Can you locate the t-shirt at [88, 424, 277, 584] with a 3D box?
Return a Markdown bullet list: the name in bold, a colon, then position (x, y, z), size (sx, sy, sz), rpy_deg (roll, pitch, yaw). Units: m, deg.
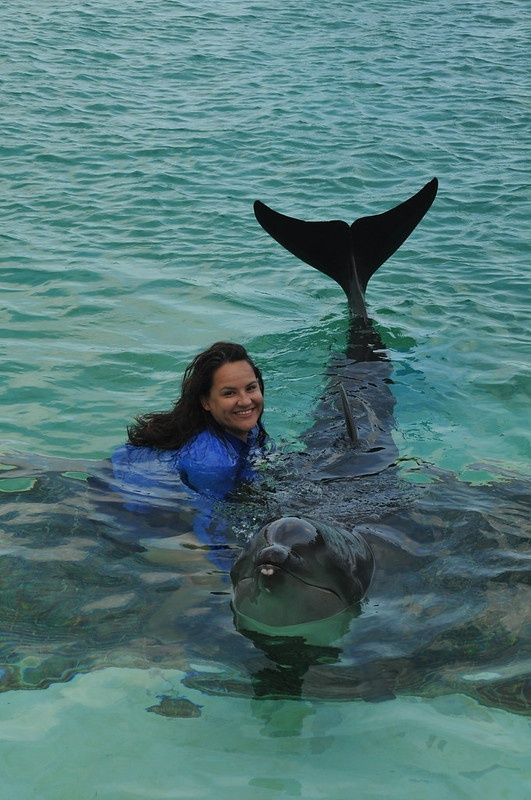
- **t-shirt**: position (-0.407, 0.390, 4.657), size (0.724, 0.288, 1.134), rpy_deg (-2, 19, -5)
